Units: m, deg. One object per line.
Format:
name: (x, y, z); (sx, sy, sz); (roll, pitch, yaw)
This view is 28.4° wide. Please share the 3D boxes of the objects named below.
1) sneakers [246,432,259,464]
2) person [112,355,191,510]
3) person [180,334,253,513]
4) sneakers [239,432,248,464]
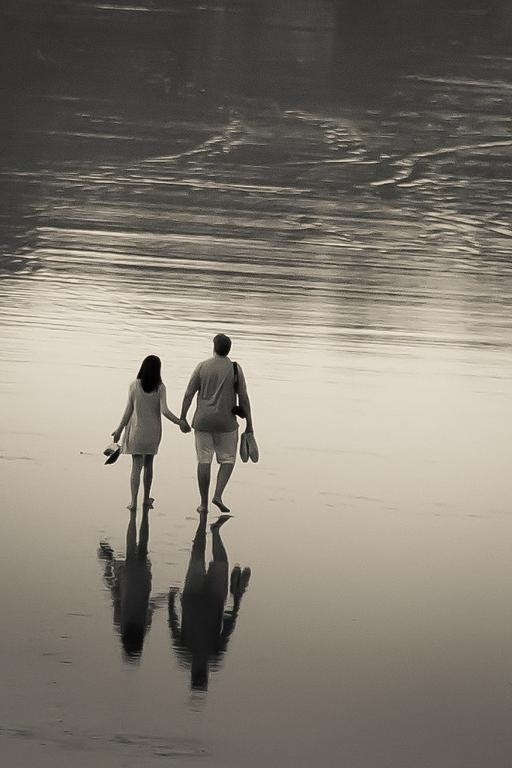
sneakers: (-0.018, 0.469, 7.473); (0.078, 0.243, 0.096); (-10, -4, -6)
person: (-0.772, 0.327, 7.138); (0.419, 1.041, 0.646); (4, 7, -15)
person: (-0.283, 0.257, 7.280); (0.534, 1.206, 0.769); (6, 7, -2)
sneakers: (-0.106, 0.468, 7.465); (0.063, 0.212, 0.083); (-2, -8, 5)
